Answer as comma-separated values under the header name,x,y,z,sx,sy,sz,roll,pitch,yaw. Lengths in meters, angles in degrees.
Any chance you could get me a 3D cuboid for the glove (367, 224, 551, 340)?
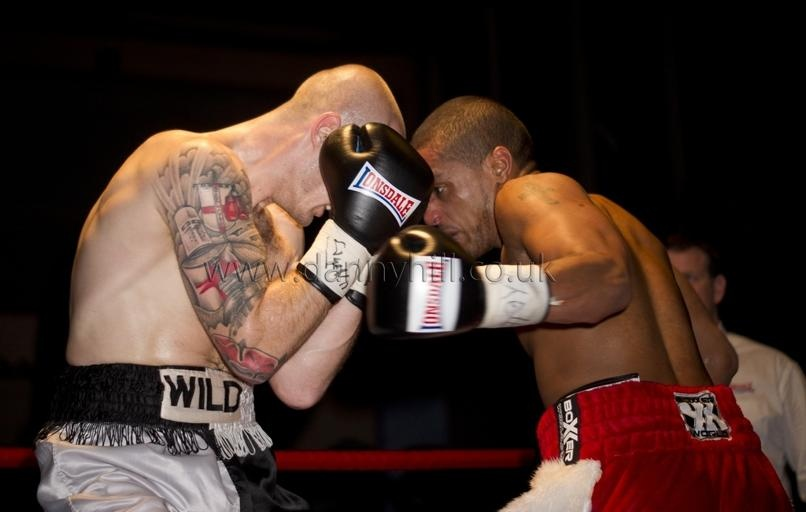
name,x,y,z,sx,sy,sz,roll,pitch,yaw
glove,0.263,0.113,3.743,0.857,0.531,0.120,0,-4,-6
